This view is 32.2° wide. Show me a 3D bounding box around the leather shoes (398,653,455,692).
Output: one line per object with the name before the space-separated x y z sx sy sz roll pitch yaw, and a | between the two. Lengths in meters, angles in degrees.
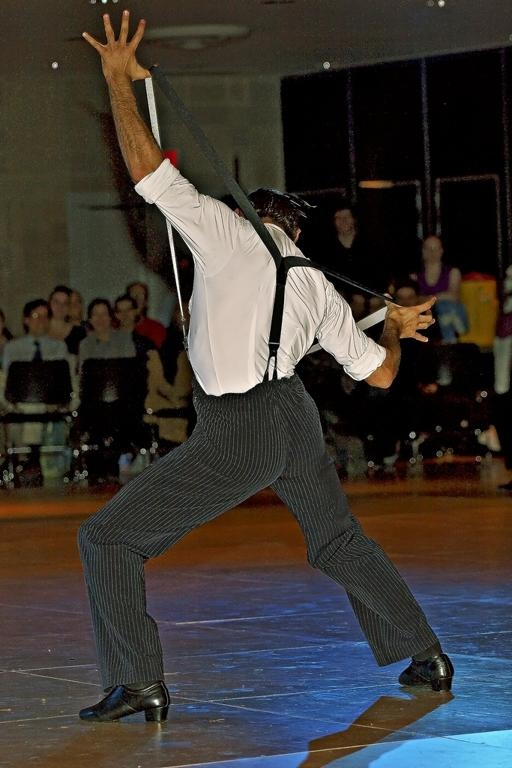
leather shoes | 0.481 0.798 2.486 0.078 0.096 0.200 -3 -1 -35

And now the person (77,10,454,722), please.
person | 0.012 -0.019 2.253 0.992 1.784 0.368 -6 4 -31
